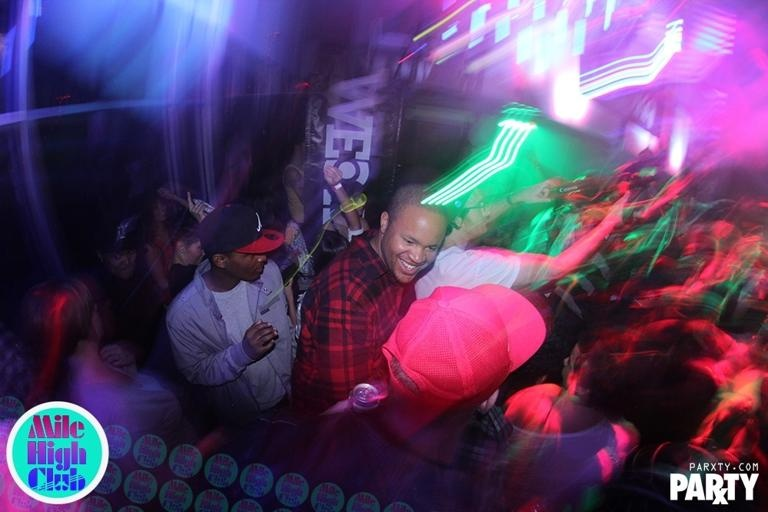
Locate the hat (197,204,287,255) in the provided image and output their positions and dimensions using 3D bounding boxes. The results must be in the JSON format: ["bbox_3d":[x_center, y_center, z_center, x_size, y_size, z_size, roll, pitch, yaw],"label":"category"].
[{"bbox_3d":[-1.468,-0.242,4.968,0.705,0.358,0.506,-8,18,-8],"label":"hat"}]

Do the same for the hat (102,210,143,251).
[{"bbox_3d":[-2.750,-0.237,5.135,0.262,0.415,0.201,29,-9,4],"label":"hat"}]

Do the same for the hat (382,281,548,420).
[{"bbox_3d":[0.687,0.855,4.455,1.351,1.133,0.619,4,23,-21],"label":"hat"}]
